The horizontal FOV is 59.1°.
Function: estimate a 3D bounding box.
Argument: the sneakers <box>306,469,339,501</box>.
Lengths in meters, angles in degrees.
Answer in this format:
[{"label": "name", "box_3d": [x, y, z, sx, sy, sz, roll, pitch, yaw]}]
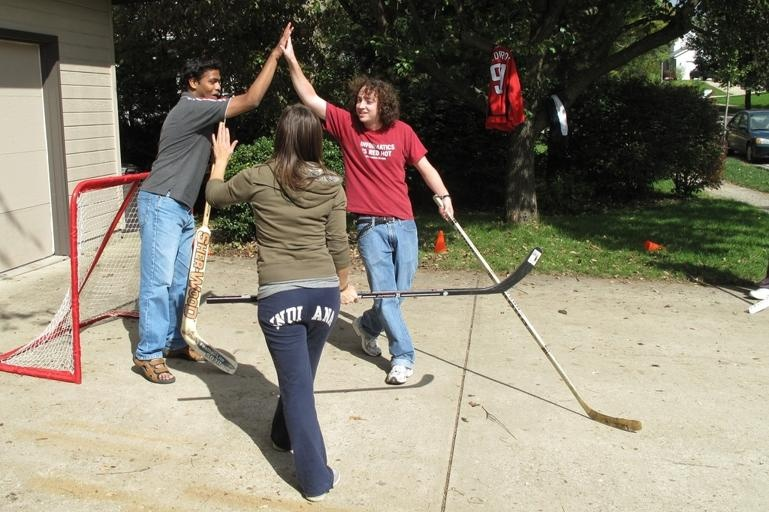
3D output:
[{"label": "sneakers", "box_3d": [-0.478, 1.773, 5.277, 0.126, 0.131, 0.334, 10, 29, 16]}]

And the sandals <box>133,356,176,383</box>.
[{"label": "sandals", "box_3d": [-2.239, 1.057, 6.520, 0.476, 0.180, 0.193, 17, 22, 29]}]

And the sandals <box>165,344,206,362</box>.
[{"label": "sandals", "box_3d": [-2.037, 0.994, 6.981, 0.464, 0.173, 0.165, 1, 2, 5]}]

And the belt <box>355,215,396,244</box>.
[{"label": "belt", "box_3d": [-0.094, -0.258, 6.537, 0.338, 0.127, 0.253, -11, -2, -8]}]

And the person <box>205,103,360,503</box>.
[{"label": "person", "box_3d": [-0.737, 0.331, 5.235, 1.126, 2.938, 0.603, 13, 15, 36]}]

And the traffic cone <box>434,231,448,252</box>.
[{"label": "traffic cone", "box_3d": [0.939, -0.239, 11.371, 0.293, 0.376, 0.292, 3, 31, 3]}]
